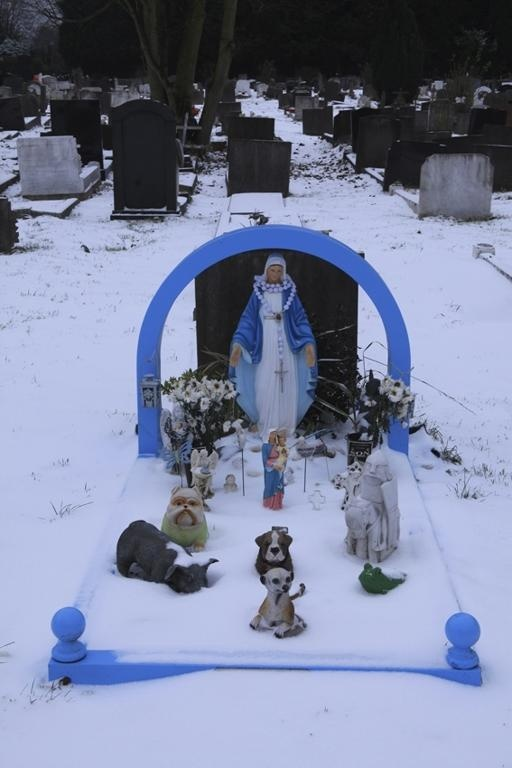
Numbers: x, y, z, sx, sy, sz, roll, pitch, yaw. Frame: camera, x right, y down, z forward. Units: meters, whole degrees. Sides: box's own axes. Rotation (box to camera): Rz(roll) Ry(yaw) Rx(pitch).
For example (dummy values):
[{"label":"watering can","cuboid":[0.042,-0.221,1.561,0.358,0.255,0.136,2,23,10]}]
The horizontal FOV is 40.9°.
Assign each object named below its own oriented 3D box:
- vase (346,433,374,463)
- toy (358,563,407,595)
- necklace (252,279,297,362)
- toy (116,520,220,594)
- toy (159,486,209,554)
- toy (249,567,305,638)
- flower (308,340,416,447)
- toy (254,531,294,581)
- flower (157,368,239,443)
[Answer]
[{"label":"vase","cuboid":[0.726,0.461,4.946,0.153,0.288,0.288,3,-1,1]},{"label":"toy","cuboid":[0.638,0.970,3.452,0.248,0.130,0.159,0,15,1]},{"label":"necklace","cuboid":[0.122,-0.465,5.043,0.407,0.550,0.184,5,7,-5]},{"label":"toy","cuboid":[-0.487,0.909,3.593,0.596,0.257,0.285,11,19,37]},{"label":"toy","cuboid":[-0.401,0.769,4.035,0.269,0.372,0.430,3,-1,6]},{"label":"toy","cuboid":[0.124,0.982,3.155,0.152,0.232,0.402,0,-4,15]},{"label":"flower","cuboid":[0.808,0.100,5.271,0.605,0.559,0.797,20,10,-9]},{"label":"toy","cuboid":[0.091,0.849,3.622,0.190,0.258,0.514,3,3,0]},{"label":"flower","cuboid":[-0.418,0.184,5.032,0.558,0.556,0.553,-6,-5,26]}]
